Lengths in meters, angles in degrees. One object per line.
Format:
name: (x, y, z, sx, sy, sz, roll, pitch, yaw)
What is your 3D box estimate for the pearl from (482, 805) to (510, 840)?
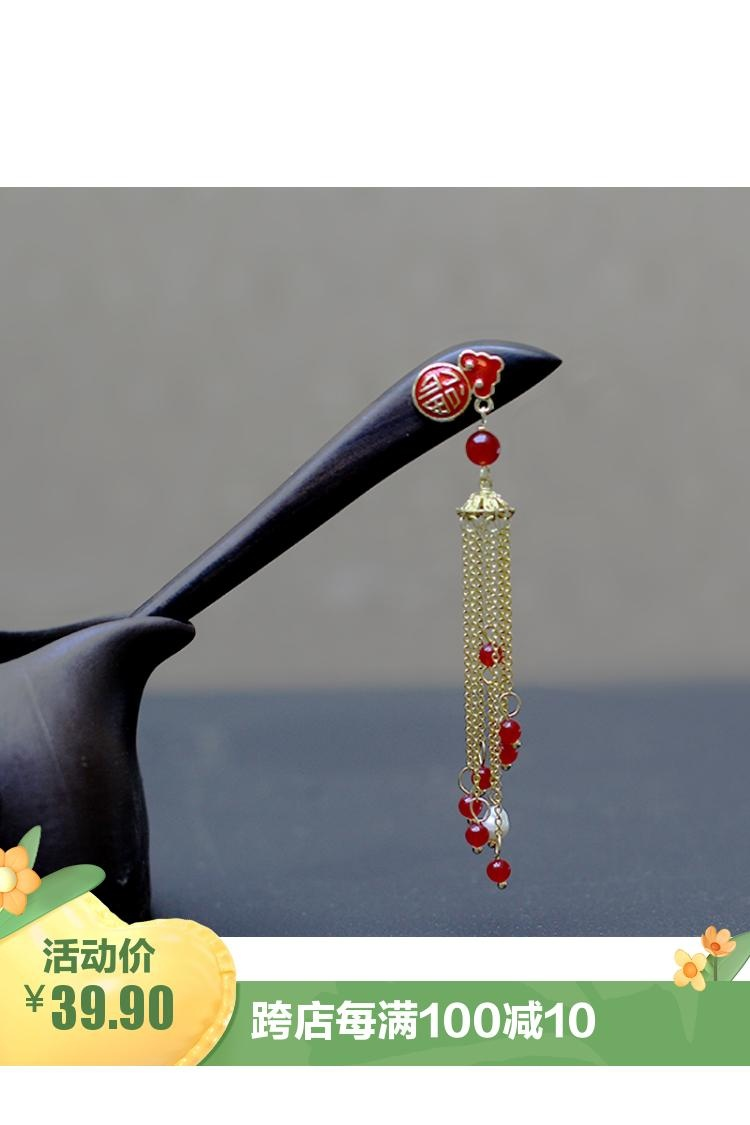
pearl: (0.104, 0.229, 1.403, 0.020, 0.030, 0.029, 6, 74, 9)

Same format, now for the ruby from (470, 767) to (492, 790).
ruby: (0.094, 0.190, 1.408, 0.017, 0.014, 0.020, -11, 72, 4)

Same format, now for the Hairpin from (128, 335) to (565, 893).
Hairpin: (0.083, 0.016, 1.433, 0.397, 0.172, 0.400, 38, 80, 16)

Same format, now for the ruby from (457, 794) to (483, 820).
ruby: (0.084, 0.213, 1.402, 0.022, 0.023, 0.020, 1, 92, 17)

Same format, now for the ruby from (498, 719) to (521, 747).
ruby: (0.116, 0.148, 1.388, 0.020, 0.012, 0.021, -20, 91, -30)

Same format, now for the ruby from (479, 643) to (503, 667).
ruby: (0.100, 0.081, 1.385, 0.019, 0.010, 0.018, -32, 84, 8)

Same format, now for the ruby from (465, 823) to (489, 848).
ruby: (0.089, 0.237, 1.390, 0.019, 0.017, 0.021, -4, 77, 1)
